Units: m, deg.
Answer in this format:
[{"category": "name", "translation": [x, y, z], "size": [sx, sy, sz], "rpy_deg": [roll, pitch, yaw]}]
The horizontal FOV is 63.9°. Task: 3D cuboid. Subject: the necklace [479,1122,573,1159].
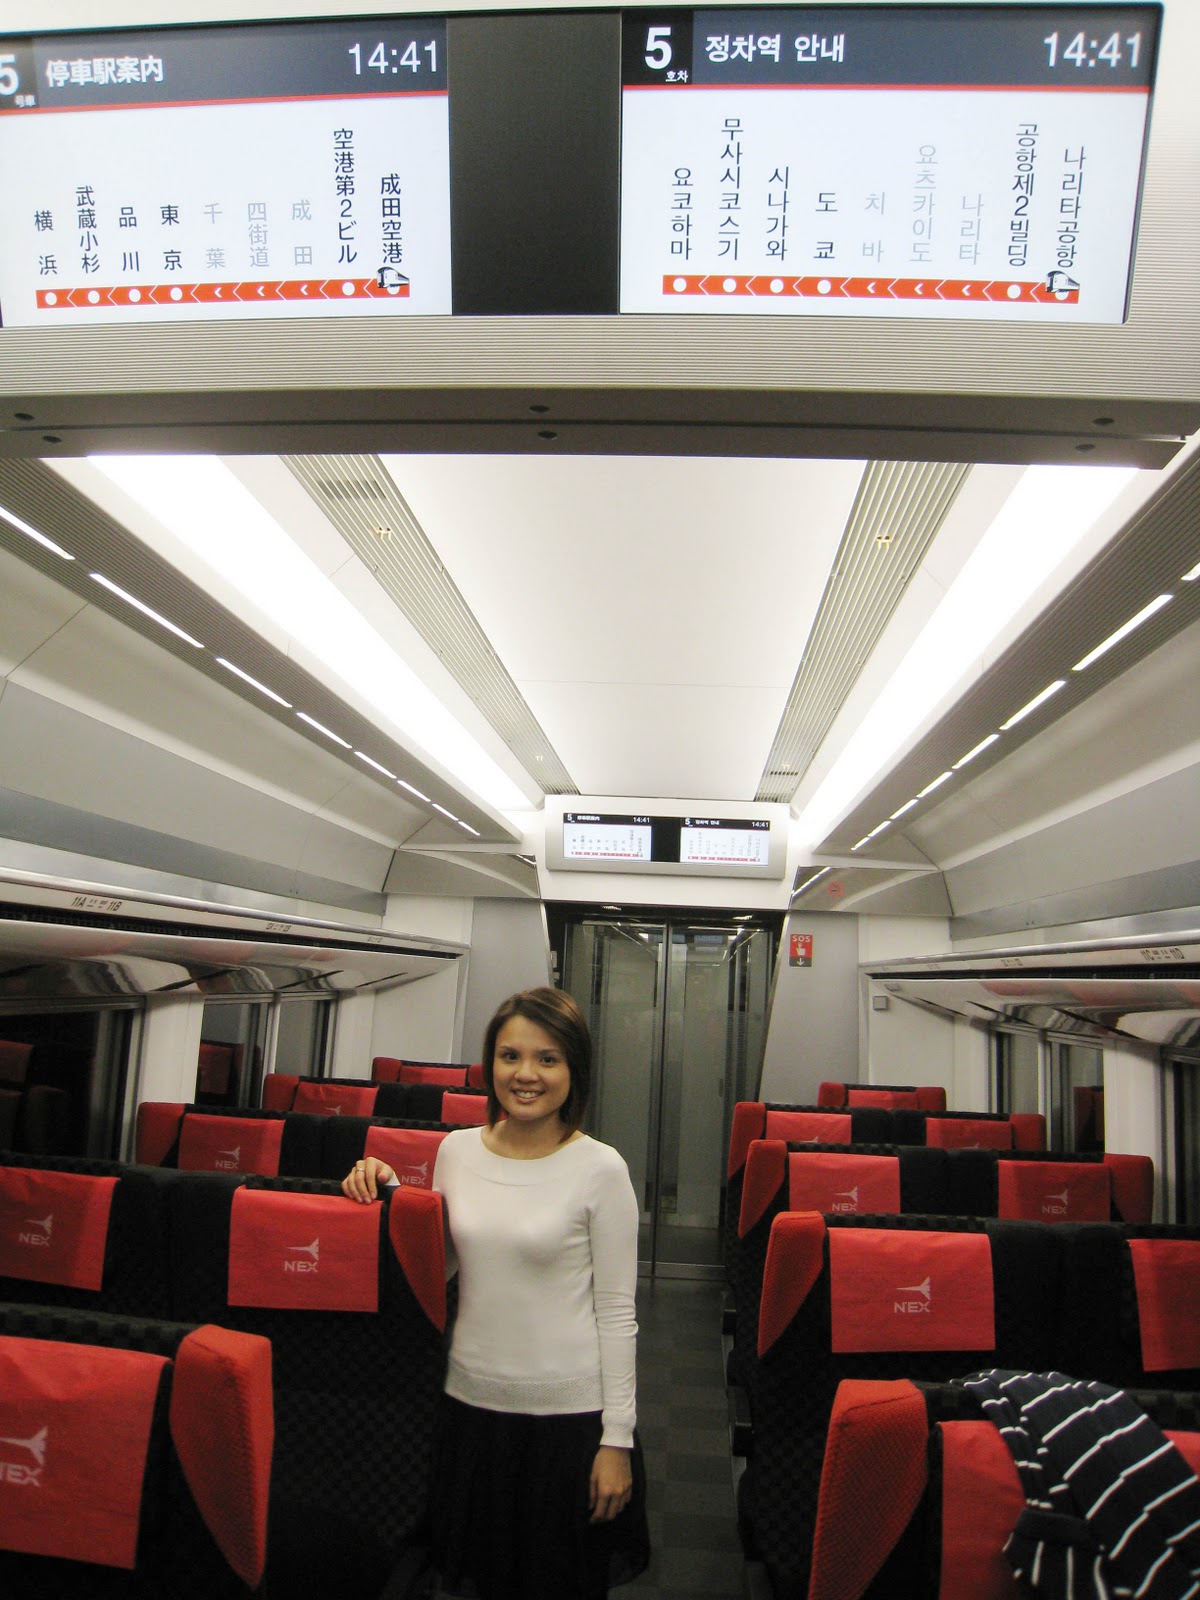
[{"category": "necklace", "translation": [-0.179, 0.757, 2.125], "size": [0.114, 0.035, 0.085], "rpy_deg": [0, 0, 6]}]
